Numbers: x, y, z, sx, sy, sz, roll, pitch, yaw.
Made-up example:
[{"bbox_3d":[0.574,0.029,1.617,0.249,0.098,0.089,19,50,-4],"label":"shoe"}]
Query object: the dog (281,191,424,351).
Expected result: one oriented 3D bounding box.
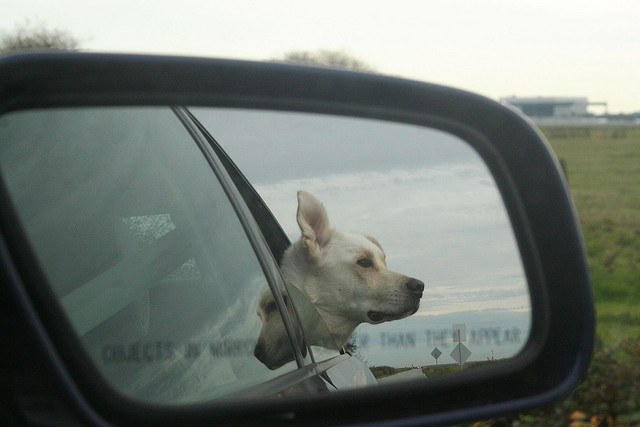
[{"bbox_3d":[0.161,0.300,2.972,0.591,0.656,0.833,-7,-12,19],"label":"dog"}]
